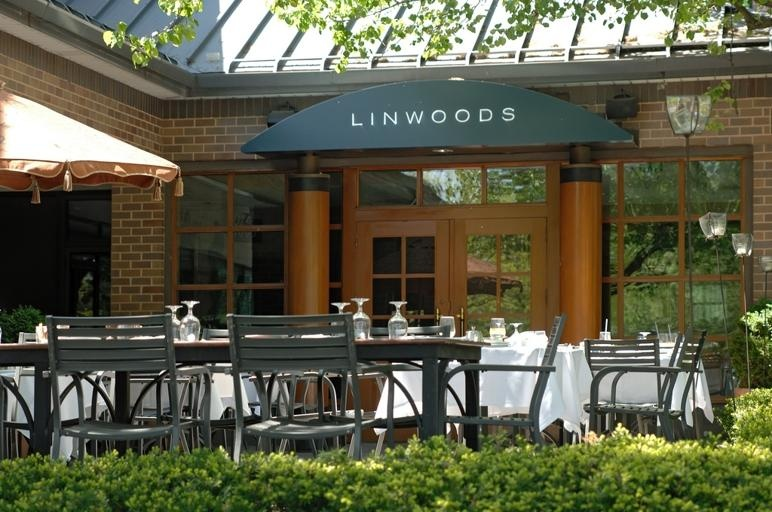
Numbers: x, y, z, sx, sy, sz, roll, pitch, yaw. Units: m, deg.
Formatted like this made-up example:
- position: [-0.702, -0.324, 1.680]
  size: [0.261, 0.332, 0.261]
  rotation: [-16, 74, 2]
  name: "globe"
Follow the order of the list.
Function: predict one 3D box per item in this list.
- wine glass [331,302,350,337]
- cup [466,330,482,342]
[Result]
- position: [-0.430, 0.519, 13.364]
  size: [0.218, 0.247, 0.218]
  rotation: [0, -5, -3]
  name: "wine glass"
- position: [0.856, 0.765, 14.294]
  size: [0.132, 0.147, 0.132]
  rotation: [1, -2, 0]
  name: "cup"
